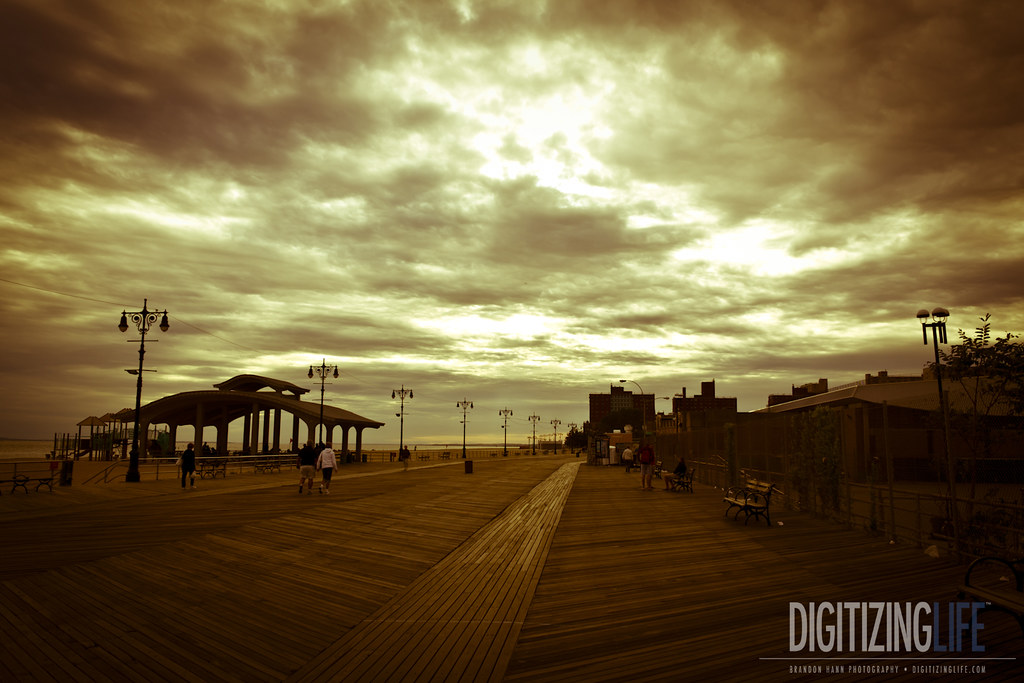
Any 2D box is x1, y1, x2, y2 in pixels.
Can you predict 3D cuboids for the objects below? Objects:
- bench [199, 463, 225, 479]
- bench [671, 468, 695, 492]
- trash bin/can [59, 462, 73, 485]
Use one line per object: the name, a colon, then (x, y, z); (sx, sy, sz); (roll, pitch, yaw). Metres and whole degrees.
bench: (-17.263, 7.569, 41.672); (1.635, 0.888, 1.509); (1, -7, -18)
bench: (7.659, 6.276, 33.088); (0.630, 0.682, 1.627); (0, -14, 9)
trash bin/can: (-19.303, 5.697, 31.597); (0.467, 1.158, 0.923); (0, -1, -34)
